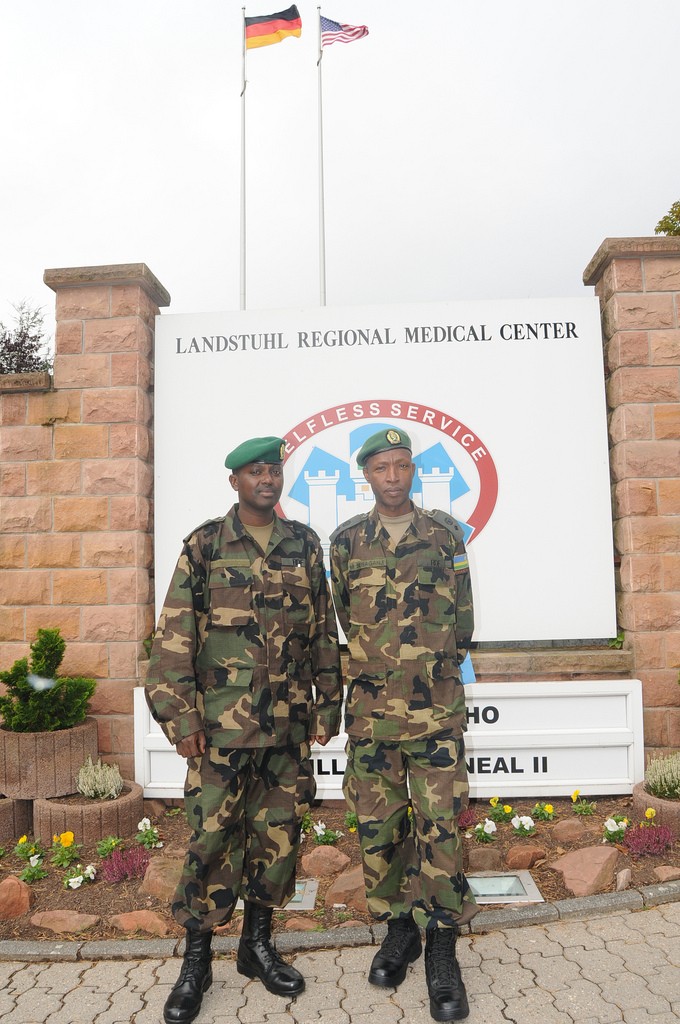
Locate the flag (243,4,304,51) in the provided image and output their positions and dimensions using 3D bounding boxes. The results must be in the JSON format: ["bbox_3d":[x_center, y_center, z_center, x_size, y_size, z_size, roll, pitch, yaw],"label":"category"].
[{"bbox_3d":[-0.602,-4.267,8.059,0.486,0.472,0.396,-2,3,0],"label":"flag"}]

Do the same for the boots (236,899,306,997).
[{"bbox_3d":[-0.255,1.643,3.461,0.136,0.309,0.341,-2,4,-44],"label":"boots"}]

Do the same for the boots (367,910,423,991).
[{"bbox_3d":[0.203,1.658,3.455,0.109,0.174,0.281,-1,3,24],"label":"boots"}]

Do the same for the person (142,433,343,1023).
[{"bbox_3d":[-0.359,0.743,3.506,0.882,2.056,0.545,-5,4,-30],"label":"person"}]

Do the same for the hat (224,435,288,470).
[{"bbox_3d":[-0.355,-0.219,3.660,0.171,0.058,0.154,-11,2,38],"label":"hat"}]
